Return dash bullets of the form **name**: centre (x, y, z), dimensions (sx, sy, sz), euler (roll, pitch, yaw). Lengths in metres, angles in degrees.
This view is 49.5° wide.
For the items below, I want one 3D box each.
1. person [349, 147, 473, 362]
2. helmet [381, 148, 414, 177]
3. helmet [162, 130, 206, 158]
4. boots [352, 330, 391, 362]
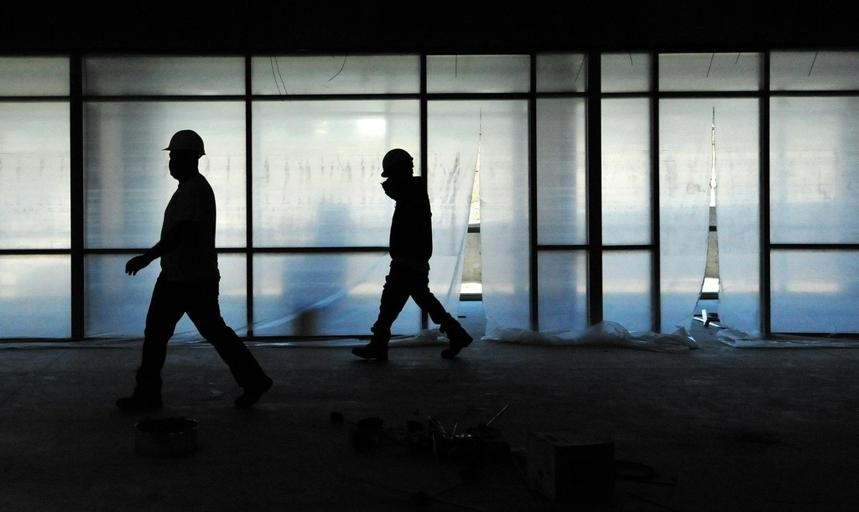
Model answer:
- **person**: centre (-0.221, 0.011, 11.692), dimensions (1.360, 2.638, 1.108), euler (3, 15, 11)
- **helmet**: centre (-0.417, -1.192, 11.759), dimensions (0.369, 0.155, 0.429), euler (-7, 7, 20)
- **helmet**: centre (-2.627, -1.226, 10.112), dimensions (0.490, 0.189, 0.323), euler (7, 7, -6)
- **boots**: centre (-0.737, 1.137, 11.607), dimensions (0.445, 0.375, 0.309), euler (0, 14, -4)
